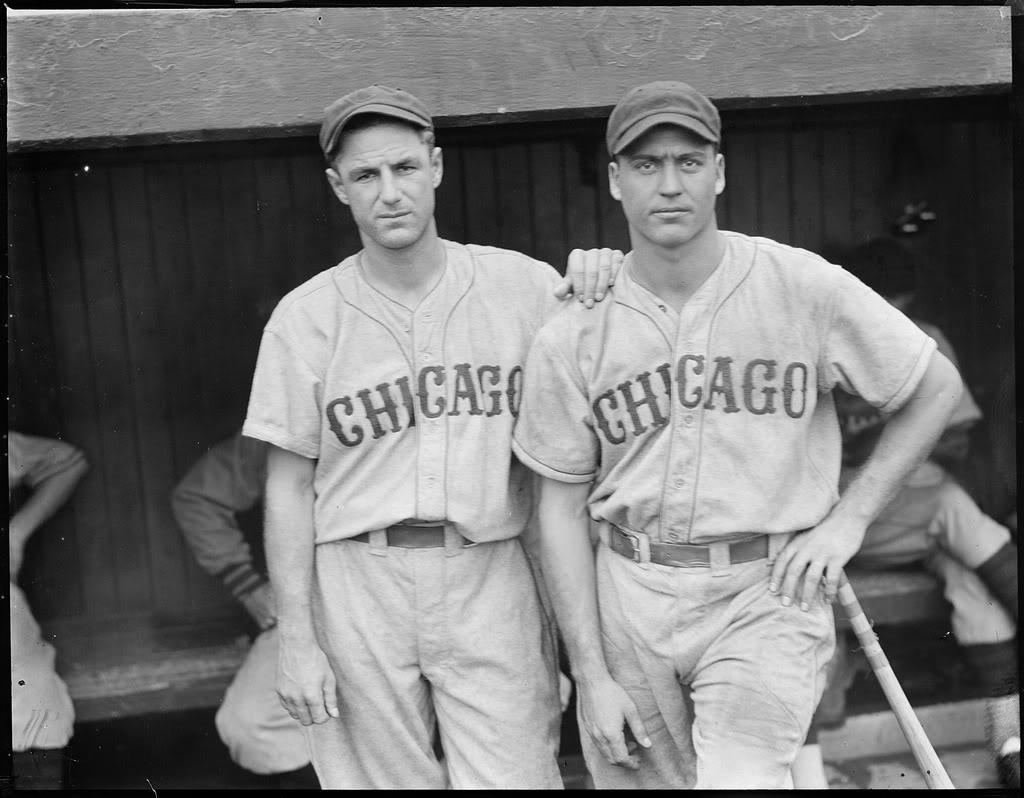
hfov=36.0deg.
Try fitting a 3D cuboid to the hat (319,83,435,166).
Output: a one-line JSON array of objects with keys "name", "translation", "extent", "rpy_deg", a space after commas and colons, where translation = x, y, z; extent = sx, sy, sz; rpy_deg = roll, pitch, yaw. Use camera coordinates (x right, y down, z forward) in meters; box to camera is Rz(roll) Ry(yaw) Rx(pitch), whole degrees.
[{"name": "hat", "translation": [-0.452, -0.921, 5.053], "extent": [0.331, 0.125, 0.420], "rpy_deg": [-9, 6, -28]}]

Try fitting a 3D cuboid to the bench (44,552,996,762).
[{"name": "bench", "translation": [-0.583, 1.014, 6.472], "extent": [4.040, 0.596, 0.963], "rpy_deg": [-3, -3, 5]}]

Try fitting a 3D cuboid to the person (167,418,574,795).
[{"name": "person", "translation": [-0.822, 0.635, 5.865], "extent": [1.031, 1.353, 0.371], "rpy_deg": [-2, 4, 13]}]

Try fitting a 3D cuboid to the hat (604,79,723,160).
[{"name": "hat", "translation": [0.454, -0.857, 4.840], "extent": [0.335, 0.217, 0.433], "rpy_deg": [-5, -3, -4]}]
